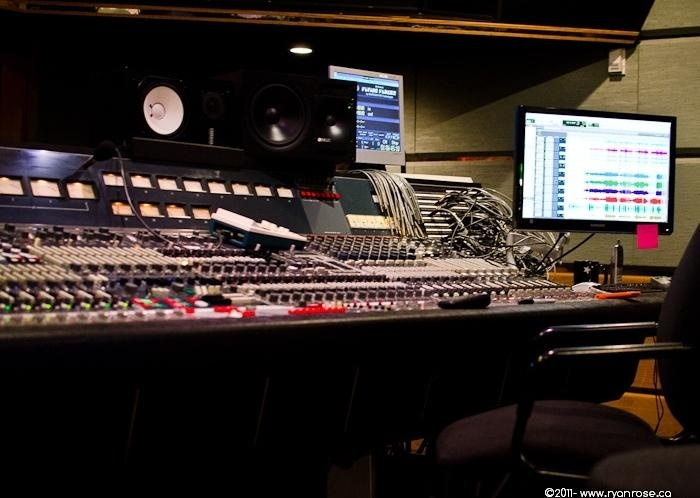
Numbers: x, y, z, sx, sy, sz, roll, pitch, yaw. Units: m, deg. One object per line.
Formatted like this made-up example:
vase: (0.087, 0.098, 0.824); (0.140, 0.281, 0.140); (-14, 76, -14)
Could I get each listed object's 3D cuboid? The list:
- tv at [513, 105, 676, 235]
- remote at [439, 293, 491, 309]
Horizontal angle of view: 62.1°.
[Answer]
tv: (0.987, -0.316, 2.356); (0.704, 0.369, 0.065); (2, 3, -10)
remote: (0.313, 0.145, 1.562); (0.111, 0.025, 0.053); (-4, 1, -15)
